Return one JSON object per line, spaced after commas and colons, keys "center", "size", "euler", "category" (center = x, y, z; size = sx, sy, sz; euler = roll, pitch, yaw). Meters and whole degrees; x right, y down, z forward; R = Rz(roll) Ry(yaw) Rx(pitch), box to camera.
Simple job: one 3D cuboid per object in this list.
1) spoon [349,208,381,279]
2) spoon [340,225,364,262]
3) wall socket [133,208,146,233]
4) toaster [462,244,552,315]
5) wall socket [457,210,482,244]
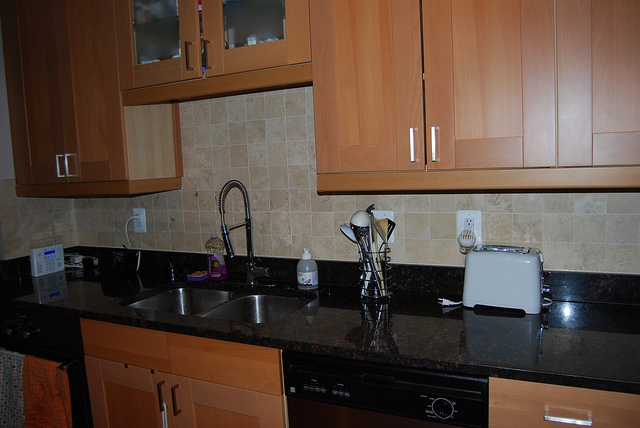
{"center": [0.229, 0.158, 2.456], "size": [0.136, 0.344, 0.059], "euler": [-3, 4, 6], "category": "spoon"}
{"center": [0.166, 0.134, 2.559], "size": [0.056, 0.212, 0.076], "euler": [-30, -2, -30], "category": "spoon"}
{"center": [-1.165, 0.040, 3.198], "size": [0.106, 0.156, 0.010], "euler": [-1, 4, 28], "category": "wall socket"}
{"center": [0.878, 0.301, 2.347], "size": [0.366, 0.277, 0.210], "euler": [1, 9, 28], "category": "toaster"}
{"center": [0.754, 0.082, 2.489], "size": [0.130, 0.195, 0.026], "euler": [1, -28, 8], "category": "wall socket"}
